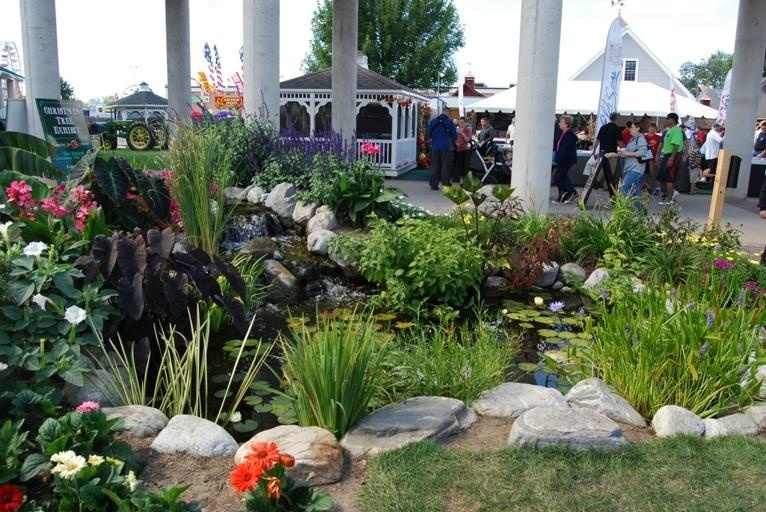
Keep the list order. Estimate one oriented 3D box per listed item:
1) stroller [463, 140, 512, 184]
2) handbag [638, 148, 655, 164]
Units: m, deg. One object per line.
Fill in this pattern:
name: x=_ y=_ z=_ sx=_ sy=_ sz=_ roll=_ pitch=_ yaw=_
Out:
stroller: x=2.582 y=-2.196 z=14.756 sx=0.912 sy=1.060 sz=0.881 roll=2 pitch=3 yaw=25
handbag: x=4.744 y=-1.833 z=10.991 sx=0.159 sy=0.266 sz=0.504 roll=7 pitch=15 yaw=33
